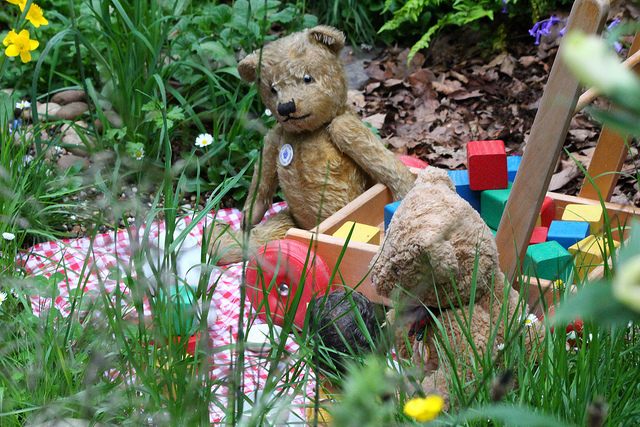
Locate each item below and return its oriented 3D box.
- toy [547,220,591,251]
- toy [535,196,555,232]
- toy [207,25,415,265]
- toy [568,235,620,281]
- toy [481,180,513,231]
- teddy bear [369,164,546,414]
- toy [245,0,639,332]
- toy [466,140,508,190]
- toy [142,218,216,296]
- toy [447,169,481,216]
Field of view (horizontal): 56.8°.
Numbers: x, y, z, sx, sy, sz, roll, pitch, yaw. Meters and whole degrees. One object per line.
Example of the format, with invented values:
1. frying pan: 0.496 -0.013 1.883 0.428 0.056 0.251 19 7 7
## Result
1. toy: 0.948 0.072 2.245 0.152 0.115 0.125 -3 60 20
2. toy: 0.861 0.006 2.267 0.071 0.145 0.075 15 29 34
3. toy: -0.067 -0.298 2.630 0.886 1.001 0.536 -8 11 2
4. toy: 0.801 0.135 1.728 0.066 0.095 0.128 22 34 39
5. toy: 0.702 -0.036 2.447 0.152 0.177 0.167 0 11 5
6. teddy bear: 0.408 0.227 1.869 0.510 0.748 0.566 -18 23 1
7. toy: 0.464 -0.199 2.323 1.206 1.420 1.057 11 33 23
8. toy: 0.705 -0.222 2.460 0.151 0.172 0.171 -1 38 19
9. toy: -0.529 0.164 2.343 0.266 0.416 0.392 0 1 -3
10. toy: 0.606 -0.078 2.542 0.177 0.200 0.187 1 17 7
